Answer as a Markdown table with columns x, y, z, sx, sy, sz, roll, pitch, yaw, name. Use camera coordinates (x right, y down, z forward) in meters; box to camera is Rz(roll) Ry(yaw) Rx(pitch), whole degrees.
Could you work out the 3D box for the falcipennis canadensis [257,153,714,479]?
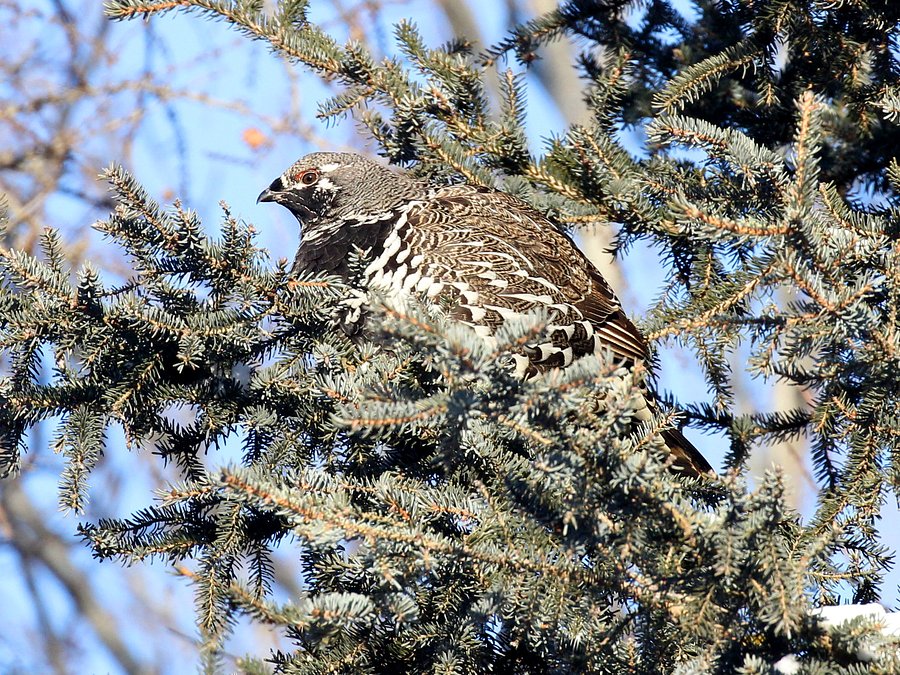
| x | y | z | sx | sy | sz | roll | pitch | yaw | name |
| --- | --- | --- | --- | --- | --- | --- | --- | --- | --- |
| 0.017 | -0.362 | 8.496 | 1.951 | 1.239 | 0.762 | 26 | 84 | 4 | falcipennis canadensis |
